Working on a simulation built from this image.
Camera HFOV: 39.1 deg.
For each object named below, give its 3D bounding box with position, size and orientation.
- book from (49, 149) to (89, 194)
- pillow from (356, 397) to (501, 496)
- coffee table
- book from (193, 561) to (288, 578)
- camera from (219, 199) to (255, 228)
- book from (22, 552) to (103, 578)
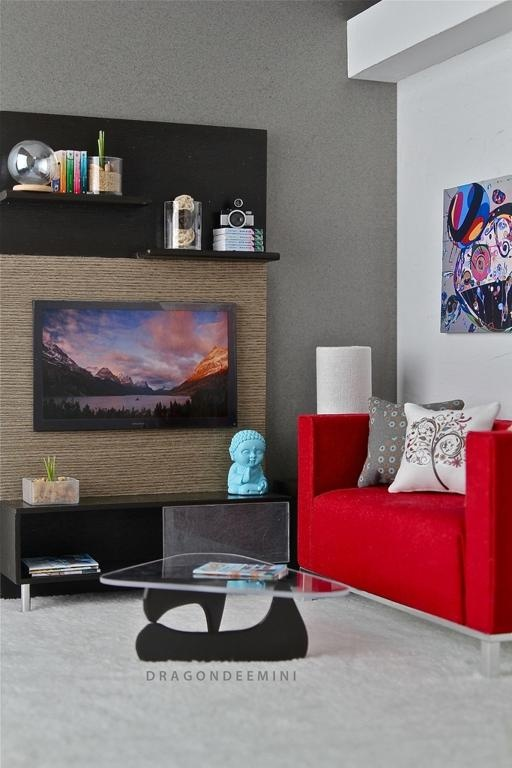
[{"bbox_3d":[-0.875,-1.013,3.443,0.168,0.204,0.061,2,-7,-16],"label":"book"},{"bbox_3d":[0.716,0.245,2.930,0.156,0.384,0.539,25,-13,-28],"label":"pillow"},{"bbox_3d":[-0.076,0.717,2.194,0.685,0.323,0.704,-1,-7,8],"label":"coffee table"},{"bbox_3d":[-0.042,0.564,2.177,0.285,0.023,0.296,0,-7,4],"label":"book"},{"bbox_3d":[-0.104,-0.912,3.856,0.189,0.170,0.101,0,-1,-21],"label":"camera"},{"bbox_3d":[-0.885,0.840,3.322,0.336,0.060,0.344,2,-7,-17],"label":"book"}]
